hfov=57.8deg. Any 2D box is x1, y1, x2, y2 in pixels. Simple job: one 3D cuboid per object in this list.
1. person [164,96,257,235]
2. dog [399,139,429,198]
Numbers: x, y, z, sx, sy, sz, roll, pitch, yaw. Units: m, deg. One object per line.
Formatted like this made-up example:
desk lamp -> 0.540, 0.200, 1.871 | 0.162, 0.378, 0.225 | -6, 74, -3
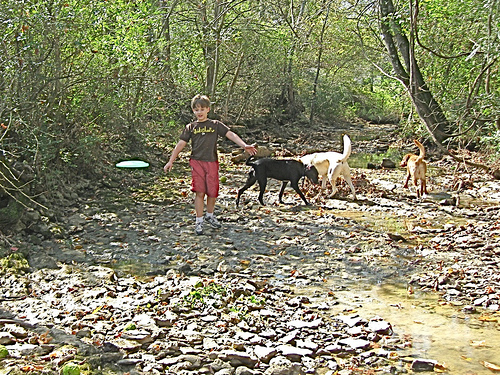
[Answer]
person -> -0.873, -0.426, 8.316 | 0.824, 2.454, 0.641 | -13, 17, -42
dog -> 3.896, -0.494, 10.712 | 0.637, 1.246, 1.307 | 3, 12, 17
